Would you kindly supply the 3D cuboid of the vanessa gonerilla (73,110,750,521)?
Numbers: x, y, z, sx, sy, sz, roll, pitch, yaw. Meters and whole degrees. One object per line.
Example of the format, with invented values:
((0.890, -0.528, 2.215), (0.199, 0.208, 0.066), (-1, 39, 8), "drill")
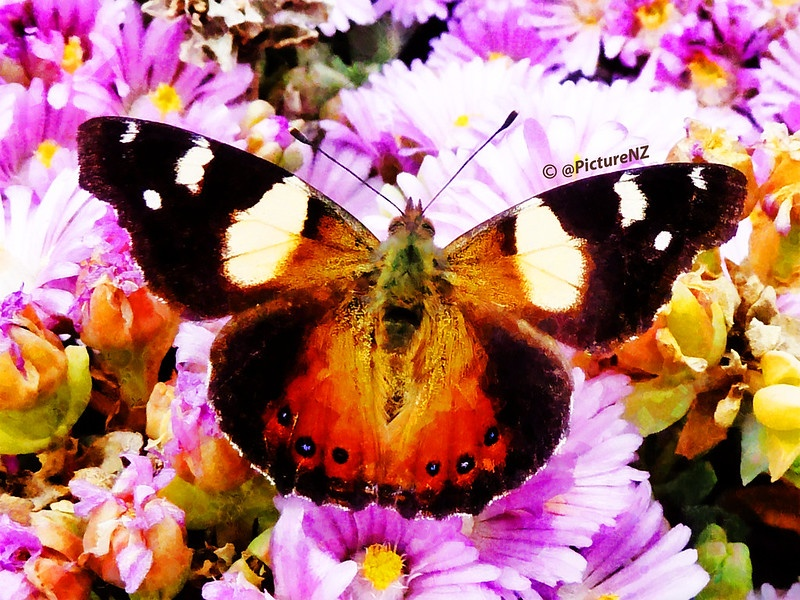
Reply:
((0.005, 0.092, 1.112), (0.571, 0.120, 0.340), (7, 79, 3), "vanessa gonerilla")
